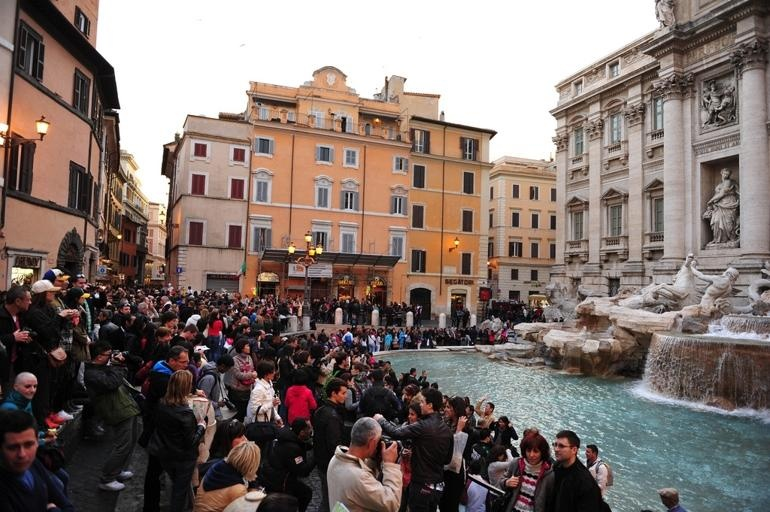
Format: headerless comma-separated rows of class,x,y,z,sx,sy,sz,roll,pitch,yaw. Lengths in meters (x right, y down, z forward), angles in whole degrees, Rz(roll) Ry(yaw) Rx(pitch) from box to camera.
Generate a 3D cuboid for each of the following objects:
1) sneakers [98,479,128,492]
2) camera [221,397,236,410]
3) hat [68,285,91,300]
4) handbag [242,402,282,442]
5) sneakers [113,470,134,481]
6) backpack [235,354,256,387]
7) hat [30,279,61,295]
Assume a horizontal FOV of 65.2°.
sneakers,-6.127,5.169,13.639,0.577,0.237,0.226,3,2,-10
camera,-3.749,3.531,14.446,0.156,0.204,0.651,-13,-21,23
hat,-7.664,0.992,15.274,0.311,0.267,0.484,18,-3,46
handbag,-2.724,3.702,13.440,0.692,0.966,0.436,12,-40,-36
sneakers,-6.012,5.106,14.046,0.144,0.164,0.391,7,2,20
backpack,-3.536,2.898,15.189,0.421,0.708,0.556,-16,-17,25
hat,-7.799,0.720,13.871,0.468,0.250,0.304,4,4,-23
